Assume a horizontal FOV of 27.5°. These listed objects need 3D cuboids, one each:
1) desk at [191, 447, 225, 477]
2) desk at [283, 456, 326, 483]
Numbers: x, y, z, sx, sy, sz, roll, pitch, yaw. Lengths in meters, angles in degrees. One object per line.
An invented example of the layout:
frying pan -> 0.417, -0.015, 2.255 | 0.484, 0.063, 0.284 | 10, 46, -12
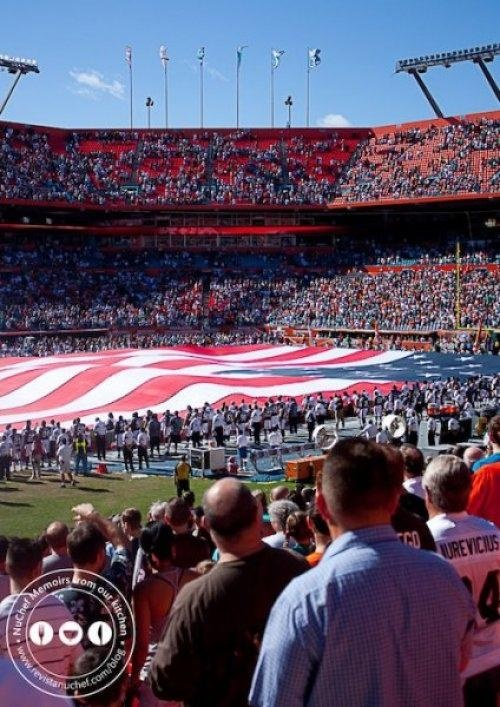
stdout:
desk -> -0.746, 1.937, 18.442 | 0.632, 0.501, 0.592 | -1, 0, -5
desk -> 0.890, 1.945, 16.999 | 0.592, 0.470, 0.755 | -1, 0, 2
